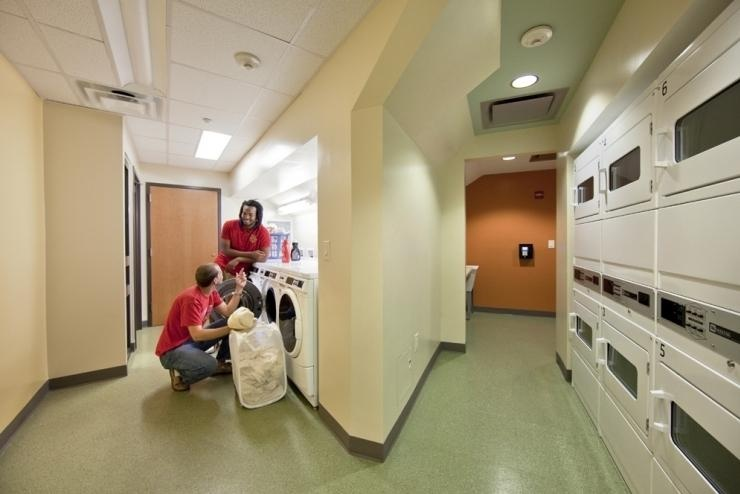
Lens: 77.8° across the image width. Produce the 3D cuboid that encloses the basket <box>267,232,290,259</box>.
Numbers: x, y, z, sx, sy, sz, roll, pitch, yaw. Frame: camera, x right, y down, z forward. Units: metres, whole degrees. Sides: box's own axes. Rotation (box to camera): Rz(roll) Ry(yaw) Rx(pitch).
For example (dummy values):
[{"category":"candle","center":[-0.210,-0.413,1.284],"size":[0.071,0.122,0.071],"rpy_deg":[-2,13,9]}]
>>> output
[{"category":"basket","center":[-1.183,-0.024,5.817],"size":[0.260,0.243,0.376],"rpy_deg":[1,-6,-11]}]

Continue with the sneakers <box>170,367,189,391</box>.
[{"category":"sneakers","center":[-1.887,1.315,4.485],"size":[0.127,0.254,0.061],"rpy_deg":[-12,-36,-38]}]

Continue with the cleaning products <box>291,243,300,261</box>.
[{"category":"cleaning products","center":[-0.910,0.048,5.561],"size":[0.090,0.183,0.214],"rpy_deg":[-2,1,-2]}]

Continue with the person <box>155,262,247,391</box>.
[{"category":"person","center":[-1.609,0.780,4.625],"size":[0.882,1.197,0.882],"rpy_deg":[5,8,33]}]
